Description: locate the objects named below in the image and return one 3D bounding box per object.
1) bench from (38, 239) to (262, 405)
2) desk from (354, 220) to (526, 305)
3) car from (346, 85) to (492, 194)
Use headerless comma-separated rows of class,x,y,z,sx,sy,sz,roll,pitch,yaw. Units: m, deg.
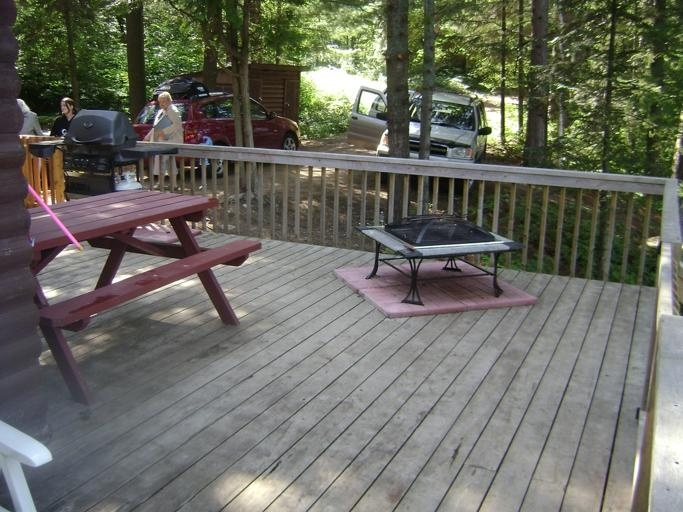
bench,-1.506,0.265,3.650,0.993,0.523,1.918,18,18,16
desk,0.882,0.004,4.767,1.351,0.488,1.385,7,13,44
car,1.615,-2.877,12.006,2.432,1.581,3.433,10,21,-15
